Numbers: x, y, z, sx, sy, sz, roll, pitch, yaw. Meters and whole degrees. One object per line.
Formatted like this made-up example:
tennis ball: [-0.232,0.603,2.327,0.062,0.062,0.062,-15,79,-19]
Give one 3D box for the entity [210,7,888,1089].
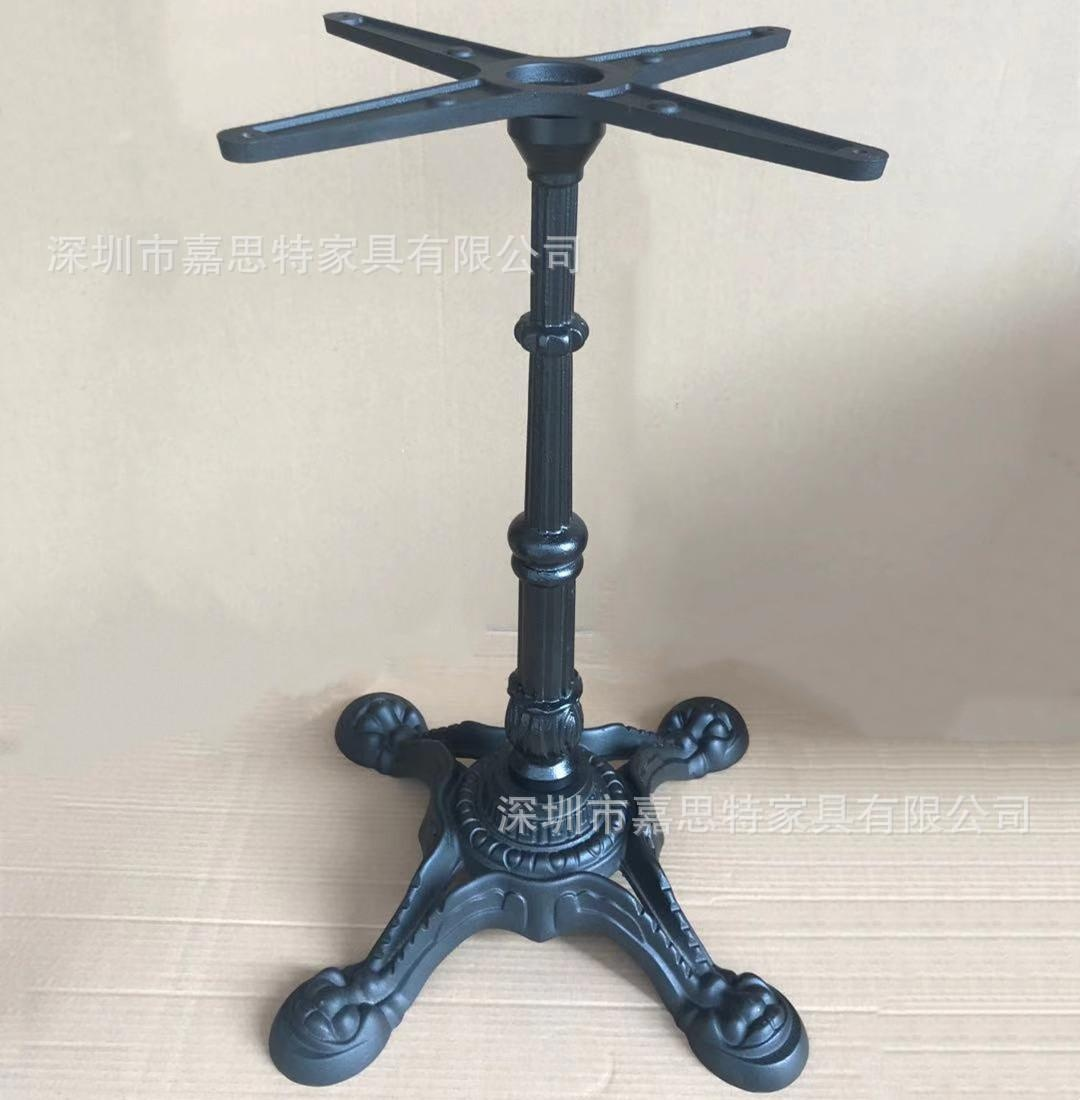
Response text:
entity: [-0.011,0.028,1.823,0.651,1.210,1.101,-1,-13,-1]
